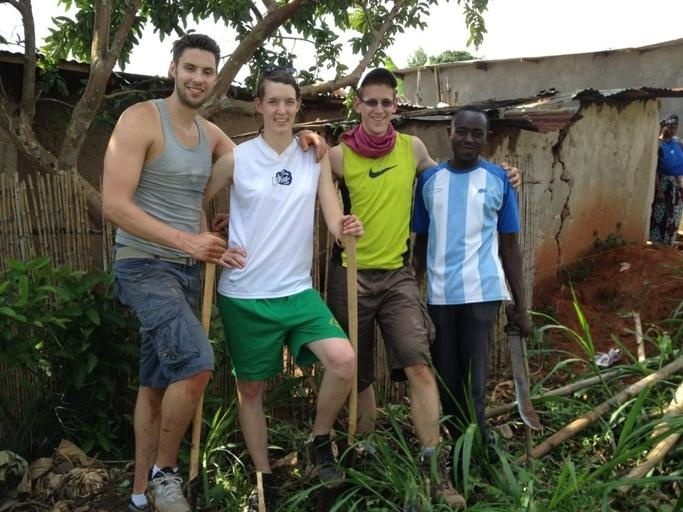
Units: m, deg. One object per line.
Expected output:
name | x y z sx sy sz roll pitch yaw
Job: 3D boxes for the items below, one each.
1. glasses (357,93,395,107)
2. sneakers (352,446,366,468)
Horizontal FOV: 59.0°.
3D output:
glasses | 0.282 -1.217 4.763 0.276 0.096 0.086 1 6 -4
sneakers | 0.135 1.552 4.618 0.128 0.190 0.081 -3 14 -13
